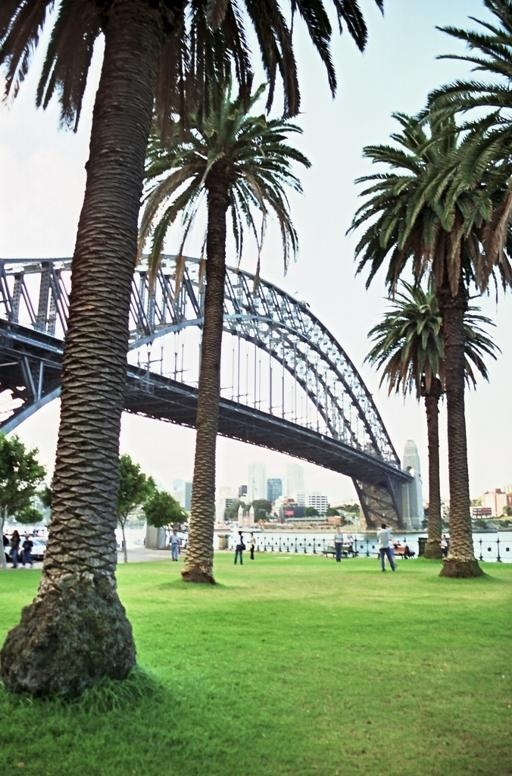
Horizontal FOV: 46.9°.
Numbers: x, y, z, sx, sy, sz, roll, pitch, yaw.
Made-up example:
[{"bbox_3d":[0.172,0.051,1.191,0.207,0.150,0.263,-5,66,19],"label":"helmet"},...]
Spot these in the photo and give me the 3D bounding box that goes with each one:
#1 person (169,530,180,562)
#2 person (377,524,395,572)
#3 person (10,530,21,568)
[{"bbox_3d":[-3.805,7.417,27.814,0.346,1.353,1.857,3,-12,-10],"label":"person"},{"bbox_3d":[4.316,5.321,19.673,0.430,1.591,0.488,-11,-31,17],"label":"person"},{"bbox_3d":[-10.510,7.064,25.886,0.408,1.488,3.070,6,-13,-21],"label":"person"}]
